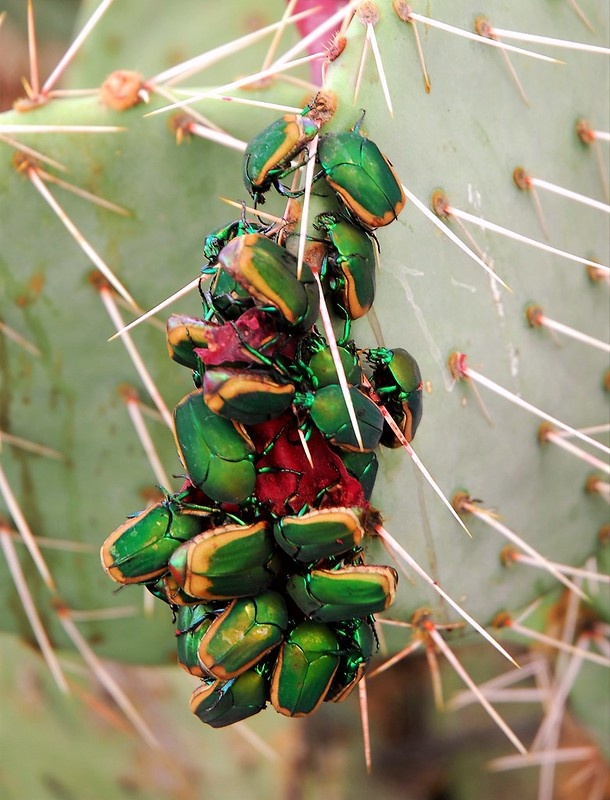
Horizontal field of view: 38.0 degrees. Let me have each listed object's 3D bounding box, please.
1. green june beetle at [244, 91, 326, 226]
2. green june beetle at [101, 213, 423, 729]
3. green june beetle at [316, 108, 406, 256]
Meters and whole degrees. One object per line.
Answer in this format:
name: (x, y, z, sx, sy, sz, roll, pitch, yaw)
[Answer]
green june beetle: (-0.030, -0.231, 0.838, 0.036, 0.102, 0.070, 12, 43, -39)
green june beetle: (0.017, 0.064, 0.849, 0.151, 0.337, 0.433, 18, 57, -49)
green june beetle: (0.052, -0.208, 0.813, 0.087, 0.028, 0.091, -42, 93, -20)
